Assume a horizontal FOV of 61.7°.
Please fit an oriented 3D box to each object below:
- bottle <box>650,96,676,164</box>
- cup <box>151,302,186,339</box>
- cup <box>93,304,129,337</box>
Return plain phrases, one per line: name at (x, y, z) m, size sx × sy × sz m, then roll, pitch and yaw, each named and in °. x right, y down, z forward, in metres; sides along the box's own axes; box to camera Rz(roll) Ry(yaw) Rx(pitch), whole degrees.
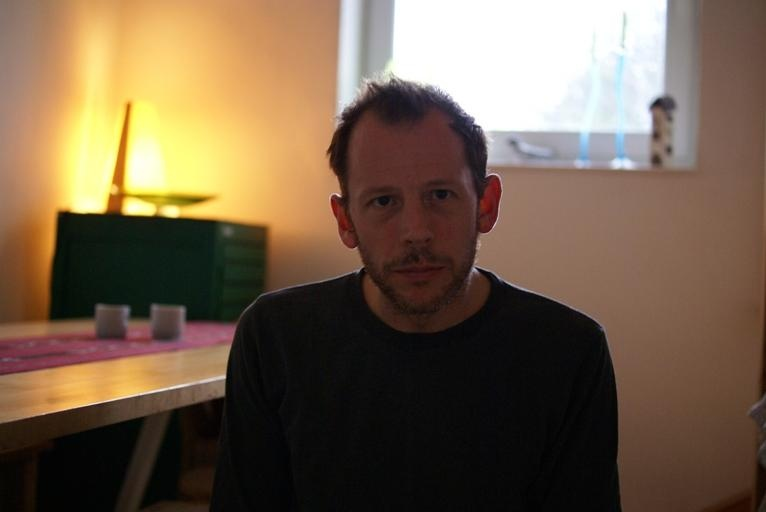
bottle at (1.096, -0.485, 2.517) m, size 0.088 × 0.281 × 0.063 m, roll 2°, pitch 6°, yaw 14°
cup at (-0.717, 0.218, 2.149) m, size 0.107 × 0.108 × 0.107 m, roll 2°, pitch 2°, yaw 0°
cup at (-0.872, 0.213, 2.094) m, size 0.098 × 0.097 × 0.097 m, roll 2°, pitch 1°, yaw 0°
